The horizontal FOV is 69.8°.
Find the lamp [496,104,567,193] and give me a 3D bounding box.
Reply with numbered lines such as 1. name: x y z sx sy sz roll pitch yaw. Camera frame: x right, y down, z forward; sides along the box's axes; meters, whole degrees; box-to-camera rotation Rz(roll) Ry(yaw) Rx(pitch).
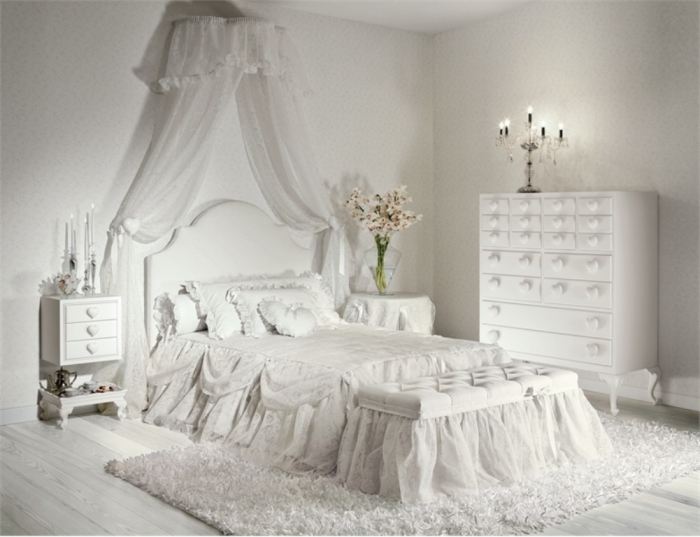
1. lamp: 1.798 -1.159 5.012 0.679 0.822 0.754 2 -1 0

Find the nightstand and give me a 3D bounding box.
1. nightstand: -2.034 0.473 3.871 0.325 0.471 0.464 4 3 42

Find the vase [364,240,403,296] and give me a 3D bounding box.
1. vase: 0.352 -0.015 5.387 0.391 0.587 0.410 -1 -6 36

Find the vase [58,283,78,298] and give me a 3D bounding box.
1. vase: -2.146 0.181 3.826 0.114 0.089 0.102 7 -8 -42

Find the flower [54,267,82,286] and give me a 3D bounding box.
1. flower: -2.167 0.083 3.883 0.193 0.147 0.168 -7 12 -35

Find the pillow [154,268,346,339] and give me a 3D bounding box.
1. pillow: -0.867 0.303 4.064 0.987 0.327 0.679 -5 10 -23

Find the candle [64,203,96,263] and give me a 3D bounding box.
1. candle: -2.142 -0.270 3.979 0.234 0.449 0.123 -3 11 -18

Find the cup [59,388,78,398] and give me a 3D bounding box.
1. cup: -2.076 0.923 3.701 0.064 0.034 0.081 0 -4 12

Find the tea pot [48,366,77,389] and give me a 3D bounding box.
1. tea pot: -2.189 0.847 3.884 0.213 0.196 0.134 3 -2 -24
